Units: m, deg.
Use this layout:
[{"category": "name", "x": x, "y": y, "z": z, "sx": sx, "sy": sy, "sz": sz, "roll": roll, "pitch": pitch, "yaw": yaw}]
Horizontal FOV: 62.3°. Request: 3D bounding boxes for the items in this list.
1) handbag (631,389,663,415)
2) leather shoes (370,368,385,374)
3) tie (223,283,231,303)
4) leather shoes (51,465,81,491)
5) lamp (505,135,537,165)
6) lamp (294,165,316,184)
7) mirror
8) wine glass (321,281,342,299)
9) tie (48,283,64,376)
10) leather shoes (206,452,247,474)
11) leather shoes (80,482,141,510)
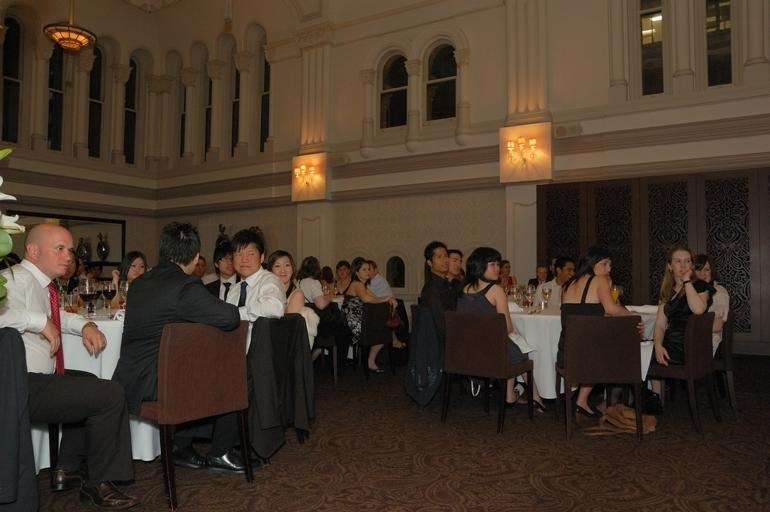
[{"category": "handbag", "x": 2.910, "y": 1.578, "z": 6.976, "sx": 0.258, "sy": 0.347, "sz": 0.326, "roll": 4, "pitch": -9, "yaw": -45}, {"category": "leather shoes", "x": -0.097, "y": 1.619, "z": 8.896, "sx": 0.154, "sy": 0.064, "sz": 0.063, "roll": -4, "pitch": -3, "yaw": 19}, {"category": "tie", "x": -1.658, "y": 0.391, "z": 6.649, "sx": 0.041, "sy": 0.158, "sz": 0.102, "roll": 9, "pitch": -2, "yaw": -35}, {"category": "leather shoes", "x": -2.725, "y": 1.896, "z": 5.415, "sx": 0.126, "sy": 0.137, "sz": 0.302, "roll": 1, "pitch": -6, "yaw": -6}, {"category": "lamp", "x": 2.273, "y": -1.751, "z": 10.576, "sx": 0.516, "sy": 0.453, "sz": 0.188, "roll": -2, "pitch": 0, "yaw": 17}, {"category": "lamp", "x": -1.578, "y": -1.584, "z": 12.554, "sx": 0.476, "sy": 0.359, "sz": 0.118, "roll": -3, "pitch": -1, "yaw": 33}, {"category": "mirror", "x": -6.886, "y": -0.074, "z": 13.685, "sx": 2.396, "sy": 1.560, "sz": 0.062, "roll": 4, "pitch": 7, "yaw": -16}, {"category": "wine glass", "x": -0.813, "y": 0.526, "z": 9.699, "sx": 0.242, "sy": 0.310, "sz": 0.259, "roll": -1, "pitch": 1, "yaw": 7}, {"category": "tie", "x": -2.680, "y": 0.657, "z": 5.179, "sx": 0.060, "sy": 0.651, "sz": 0.062, "roll": 5, "pitch": 17, "yaw": 0}, {"category": "leather shoes", "x": -1.416, "y": 1.845, "z": 5.693, "sx": 0.351, "sy": 0.182, "sz": 0.170, "roll": -1, "pitch": -5, "yaw": 3}, {"category": "leather shoes", "x": -2.263, "y": 1.966, "z": 5.276, "sx": 0.521, "sy": 0.239, "sz": 0.207, "roll": 6, "pitch": -1, "yaw": 8}]
